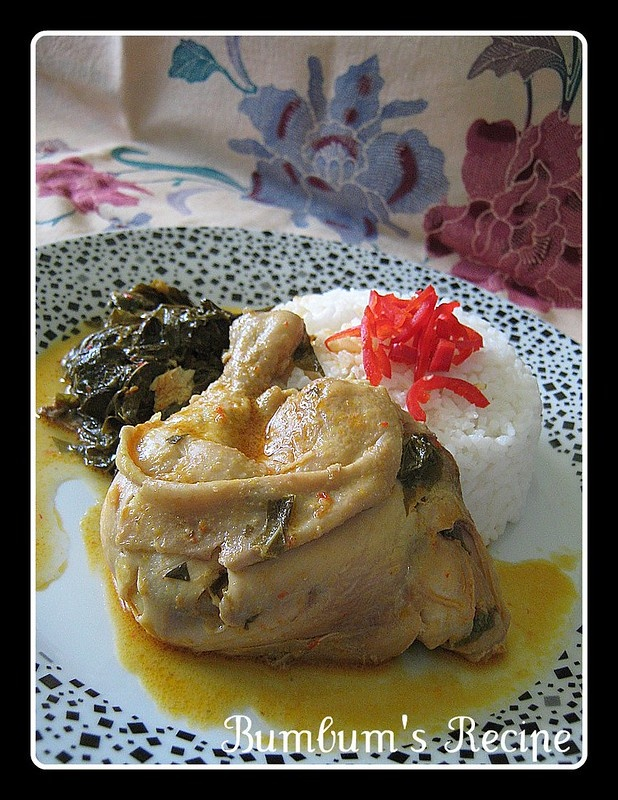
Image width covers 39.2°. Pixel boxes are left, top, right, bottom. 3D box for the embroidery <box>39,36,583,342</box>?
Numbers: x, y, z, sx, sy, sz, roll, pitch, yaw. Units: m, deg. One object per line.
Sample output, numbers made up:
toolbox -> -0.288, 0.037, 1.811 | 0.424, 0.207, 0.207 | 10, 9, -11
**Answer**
embroidery -> 0.258, -1.488, 4.895 | 3.955, 2.012, 0.028 | 3, 24, 11
